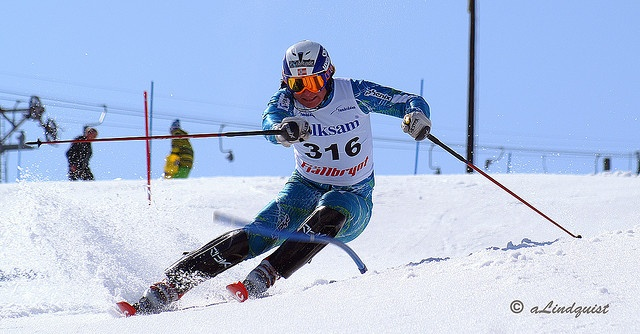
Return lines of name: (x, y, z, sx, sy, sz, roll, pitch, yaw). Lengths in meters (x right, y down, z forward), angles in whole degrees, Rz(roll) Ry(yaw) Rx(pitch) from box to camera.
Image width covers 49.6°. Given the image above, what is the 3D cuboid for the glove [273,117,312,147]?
glove: (-0.404, -0.426, 9.450, 0.669, 0.249, 0.457, -4, -14, -17)
